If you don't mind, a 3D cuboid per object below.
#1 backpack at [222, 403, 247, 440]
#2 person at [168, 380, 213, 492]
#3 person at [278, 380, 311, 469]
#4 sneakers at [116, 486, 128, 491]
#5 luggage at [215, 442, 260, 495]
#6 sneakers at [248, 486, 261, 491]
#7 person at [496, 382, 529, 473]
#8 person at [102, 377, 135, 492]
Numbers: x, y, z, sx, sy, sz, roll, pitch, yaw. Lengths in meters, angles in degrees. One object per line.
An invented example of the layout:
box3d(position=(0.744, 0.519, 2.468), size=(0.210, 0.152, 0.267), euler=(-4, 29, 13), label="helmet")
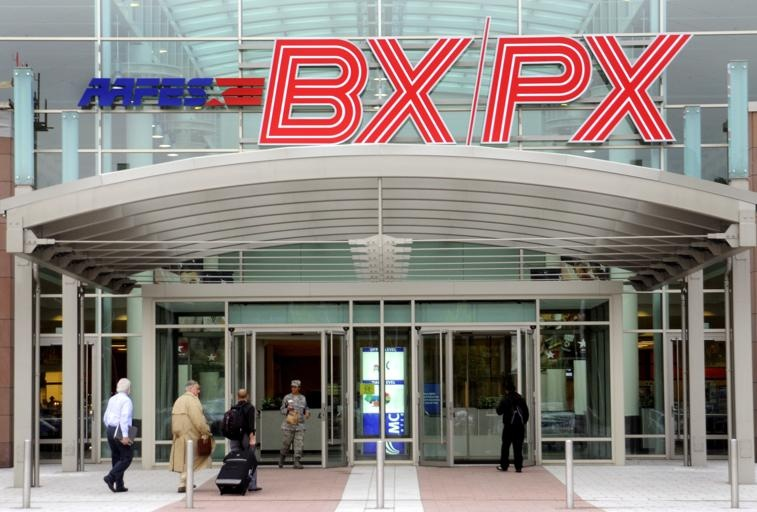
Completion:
box3d(position=(-3.266, 3.673, 30.972), size=(0.533, 0.755, 0.160), euler=(-4, -12, 19), label="backpack")
box3d(position=(-4.130, 3.938, 30.568), size=(0.900, 2.423, 0.686), euler=(1, -11, -8), label="person")
box3d(position=(-2.047, 4.013, 33.366), size=(0.689, 2.059, 0.921), euler=(0, -11, -5), label="person")
box3d(position=(-5.687, 5.159, 30.865), size=(0.171, 0.113, 0.353), euler=(-6, -11, 27), label="sneakers")
box3d(position=(-3.145, 4.728, 30.592), size=(0.738, 0.904, 0.576), euler=(8, -33, 8), label="luggage")
box3d(position=(-2.766, 5.143, 30.850), size=(0.274, 0.087, 0.084), euler=(1, -4, -17), label="sneakers")
box3d(position=(3.228, 4.001, 33.292), size=(0.758, 2.281, 0.597), euler=(-2, -11, 5), label="person")
box3d(position=(-5.790, 3.947, 30.899), size=(0.625, 2.518, 0.787), euler=(1, -12, -11), label="person")
